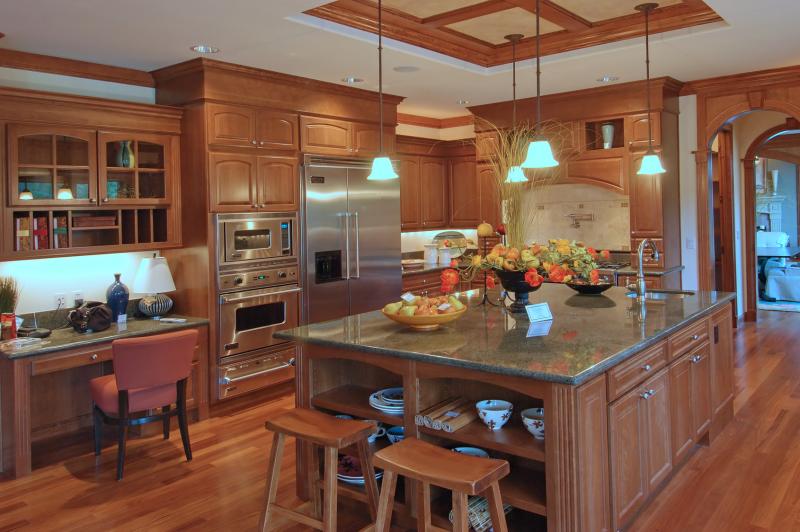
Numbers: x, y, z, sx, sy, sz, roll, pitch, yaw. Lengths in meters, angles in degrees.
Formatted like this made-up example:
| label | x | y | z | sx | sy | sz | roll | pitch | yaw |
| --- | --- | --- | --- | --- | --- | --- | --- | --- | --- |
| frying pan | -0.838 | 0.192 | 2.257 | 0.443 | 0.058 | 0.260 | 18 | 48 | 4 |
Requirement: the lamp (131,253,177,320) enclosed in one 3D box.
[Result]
| label | x | y | z | sx | sy | sz | roll | pitch | yaw |
| --- | --- | --- | --- | --- | --- | --- | --- | --- | --- |
| lamp | -2.389 | 0.215 | 5.456 | 0.350 | 0.615 | 0.485 | -8 | 14 | -24 |

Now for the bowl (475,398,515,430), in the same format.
| label | x | y | z | sx | sy | sz | roll | pitch | yaw |
| --- | --- | --- | --- | --- | --- | --- | --- | --- | --- |
| bowl | 0.586 | 0.920 | 3.499 | 0.195 | 0.100 | 0.174 | 0 | -4 | -1 |

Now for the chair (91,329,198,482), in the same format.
| label | x | y | z | sx | sy | sz | roll | pitch | yaw |
| --- | --- | --- | --- | --- | --- | --- | --- | --- | --- |
| chair | -2.107 | 1.070 | 4.682 | 0.874 | 1.125 | 0.620 | -9 | 14 | -27 |

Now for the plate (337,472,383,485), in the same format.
| label | x | y | z | sx | sy | sz | roll | pitch | yaw |
| --- | --- | --- | --- | --- | --- | --- | --- | --- | --- |
| plate | -0.320 | 1.455 | 3.837 | 0.223 | 0.042 | 0.210 | -3 | -7 | 24 |

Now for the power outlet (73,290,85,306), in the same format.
| label | x | y | z | sx | sy | sz | roll | pitch | yaw |
| --- | --- | --- | --- | --- | --- | --- | --- | --- | --- |
| power outlet | -3.006 | 0.301 | 5.273 | 0.096 | 0.123 | 0.158 | -8 | 13 | -24 |

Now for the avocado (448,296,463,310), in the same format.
| label | x | y | z | sx | sy | sz | roll | pitch | yaw |
| --- | --- | --- | --- | --- | --- | --- | --- | --- | --- |
| avocado | 0.386 | 0.262 | 3.965 | 0.076 | 0.046 | 0.117 | -7 | 16 | -25 |

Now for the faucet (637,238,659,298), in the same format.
| label | x | y | z | sx | sy | sz | roll | pitch | yaw |
| --- | --- | --- | --- | --- | --- | --- | --- | --- | --- |
| faucet | 2.030 | 0.046 | 4.661 | 0.305 | 0.542 | 0.111 | -14 | 15 | -32 |

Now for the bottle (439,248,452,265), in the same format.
| label | x | y | z | sx | sy | sz | roll | pitch | yaw |
| --- | --- | --- | --- | --- | --- | --- | --- | --- | --- |
| bottle | 0.666 | -0.136 | 8.287 | 0.253 | 0.222 | 0.232 | 2 | -1 | -27 |

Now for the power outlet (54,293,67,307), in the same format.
| label | x | y | z | sx | sy | sz | roll | pitch | yaw |
| --- | --- | --- | --- | --- | --- | --- | --- | --- | --- |
| power outlet | -3.133 | 0.323 | 5.217 | 0.098 | 0.127 | 0.032 | -12 | 16 | -36 |

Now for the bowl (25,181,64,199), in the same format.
| label | x | y | z | sx | sy | sz | roll | pitch | yaw |
| --- | --- | --- | --- | --- | --- | --- | --- | --- | --- |
| bowl | -3.067 | -0.655 | 4.869 | 0.307 | 0.148 | 0.068 | -8 | 14 | -27 |

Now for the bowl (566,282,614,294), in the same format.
| label | x | y | z | sx | sy | sz | roll | pitch | yaw |
| --- | --- | --- | --- | --- | --- | --- | --- | --- | --- |
| bowl | 1.714 | 0.197 | 5.122 | 0.359 | 0.140 | 0.278 | 2 | 12 | 19 |

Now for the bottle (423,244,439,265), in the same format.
| label | x | y | z | sx | sy | sz | roll | pitch | yaw |
| --- | --- | --- | --- | --- | --- | --- | --- | --- | --- |
| bottle | 0.460 | -0.165 | 8.291 | 0.304 | 0.320 | 0.276 | 0 | 0 | 8 |
